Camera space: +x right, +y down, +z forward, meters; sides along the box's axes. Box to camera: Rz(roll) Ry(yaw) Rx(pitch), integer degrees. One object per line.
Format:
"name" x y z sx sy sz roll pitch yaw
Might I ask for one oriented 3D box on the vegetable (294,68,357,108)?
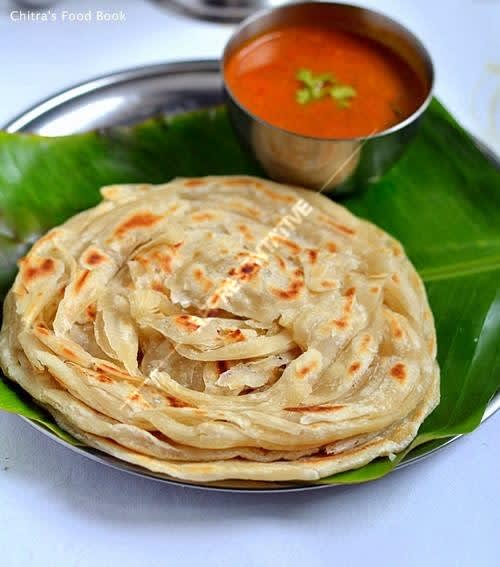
"vegetable" 0.268 -0.739 2.364 0.188 0.039 0.179 -33 64 -26
